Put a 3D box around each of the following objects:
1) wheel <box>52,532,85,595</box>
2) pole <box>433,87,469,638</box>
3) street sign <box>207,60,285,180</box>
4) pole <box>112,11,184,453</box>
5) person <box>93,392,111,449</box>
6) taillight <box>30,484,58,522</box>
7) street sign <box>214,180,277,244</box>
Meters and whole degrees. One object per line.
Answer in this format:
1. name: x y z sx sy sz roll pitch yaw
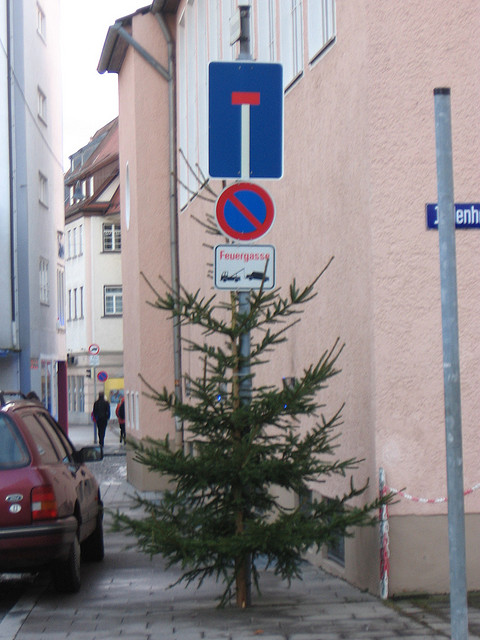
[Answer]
1. wheel: -1.231 1.774 7.026 0.078 0.443 0.335 -2 10 7
2. pole: 0.725 0.130 3.367 0.077 1.948 0.228 -1 -3 14
3. street sign: 0.029 -1.124 5.549 0.374 0.983 0.138 0 -4 -7
4. pole: -1.421 -2.402 17.252 0.510 6.369 0.571 -5 -11 3
5. person: -3.936 2.823 27.891 0.329 1.721 0.376 3 20 1
6. taillight: -1.316 1.235 6.513 0.152 0.347 0.026 2 -6 -32
7. street sign: 0.030 -0.591 5.522 0.345 0.049 0.542 0 46 0
